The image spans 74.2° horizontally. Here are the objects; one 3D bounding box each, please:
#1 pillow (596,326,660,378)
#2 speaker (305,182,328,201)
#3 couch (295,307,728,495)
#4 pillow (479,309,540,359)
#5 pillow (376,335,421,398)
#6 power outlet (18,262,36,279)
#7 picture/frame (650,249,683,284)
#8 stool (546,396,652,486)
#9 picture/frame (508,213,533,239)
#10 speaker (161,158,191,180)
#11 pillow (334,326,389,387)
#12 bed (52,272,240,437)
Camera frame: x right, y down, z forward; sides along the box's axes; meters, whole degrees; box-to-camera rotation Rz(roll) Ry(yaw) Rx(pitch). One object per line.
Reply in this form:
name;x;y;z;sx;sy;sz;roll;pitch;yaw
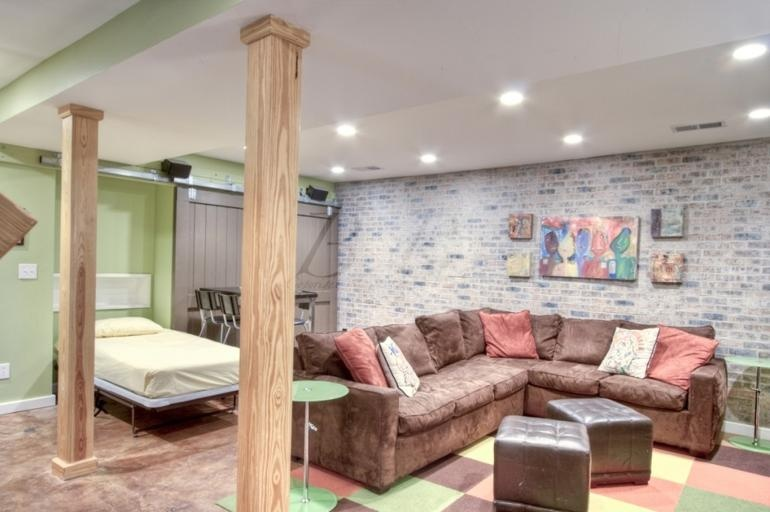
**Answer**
pillow;2.660;1.016;5.462;0.179;0.512;0.571;31;-11;-19
speaker;-1.105;-1.034;8.213;0.306;0.197;0.280;3;6;-44
couch;1.256;1.378;4.852;2.372;0.828;2.366;-4;-4;40
pillow;1.538;0.970;6.385;0.837;0.706;0.194;15;-28;-1
pillow;0.050;1.013;4.988;0.216;0.587;0.655;-26;11;7
power outlet;-3.949;0.168;5.614;0.041;0.155;0.166;3;-2;34
picture/frame;3.271;0.124;5.877;0.426;0.442;0.067;4;1;40
stool;1.952;1.589;4.680;0.704;0.576;0.868;-1;-1;2
picture/frame;1.834;-0.399;6.833;0.377;0.378;0.057;4;3;38
speaker;-2.718;-1.115;6.574;0.323;0.207;0.157;4;22;-39
pillow;-0.171;0.964;4.761;0.491;0.458;0.564;-7;12;-44
bed;-2.794;1.029;5.887;2.472;1.264;1.350;8;6;32
